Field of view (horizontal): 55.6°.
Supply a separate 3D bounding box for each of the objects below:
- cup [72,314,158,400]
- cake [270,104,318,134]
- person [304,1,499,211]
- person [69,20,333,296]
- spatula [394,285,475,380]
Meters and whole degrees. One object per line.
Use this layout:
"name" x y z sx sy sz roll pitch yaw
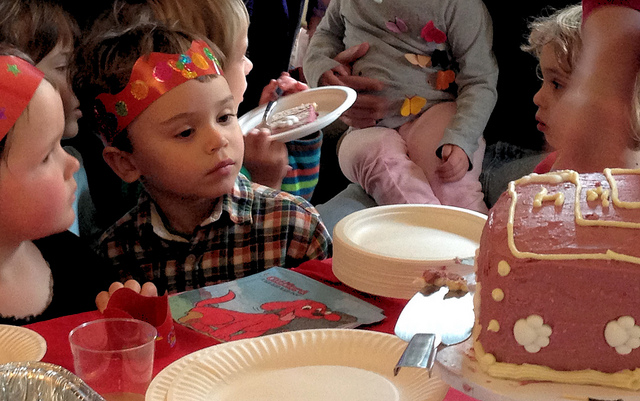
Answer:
"cup" -0.515 0.379 1.588 0.206 0.203 0.205 0 19 0
"cake" -0.120 -0.376 2.793 0.219 0.044 0.145 -19 27 1
"person" 0.332 -0.582 2.823 0.538 0.673 1.161 -3 54 1
"person" -0.500 -0.148 2.399 0.905 0.957 0.513 -39 31 -20
"spatula" 0.284 0.308 1.554 0.192 0.043 0.383 9 26 19
